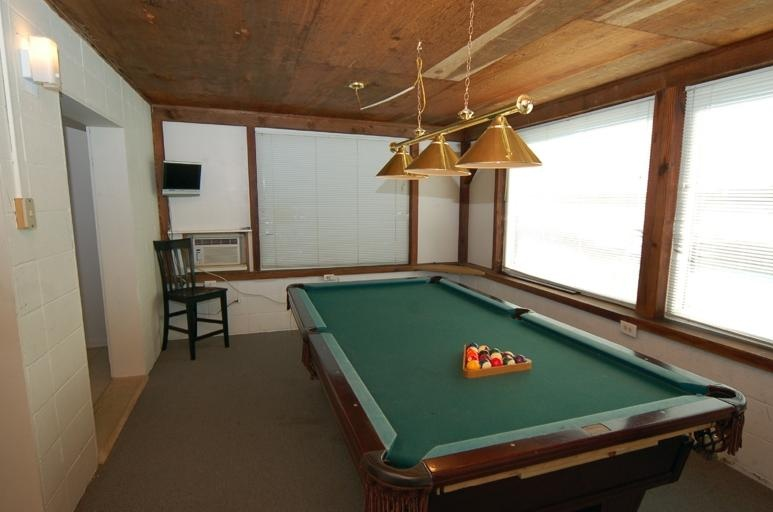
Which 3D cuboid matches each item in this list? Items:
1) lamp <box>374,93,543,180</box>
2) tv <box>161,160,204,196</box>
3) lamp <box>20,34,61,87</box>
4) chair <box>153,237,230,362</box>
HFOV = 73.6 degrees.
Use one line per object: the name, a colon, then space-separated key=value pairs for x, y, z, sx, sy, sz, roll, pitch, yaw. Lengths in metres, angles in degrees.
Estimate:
lamp: x=0.404 y=-0.782 z=3.816 sx=0.598 sy=0.335 sz=1.505 roll=2 pitch=-1 yaw=-36
tv: x=-2.319 y=-0.865 z=5.844 sx=0.500 sy=0.389 sz=0.063 roll=-1 pitch=7 yaw=-24
lamp: x=-2.359 y=-1.322 z=3.543 sx=0.205 sy=0.331 sz=0.109 roll=-4 pitch=12 yaw=-29
chair: x=-2.196 y=0.439 z=5.849 sx=0.685 sy=1.342 sz=0.688 roll=6 pitch=10 yaw=33
